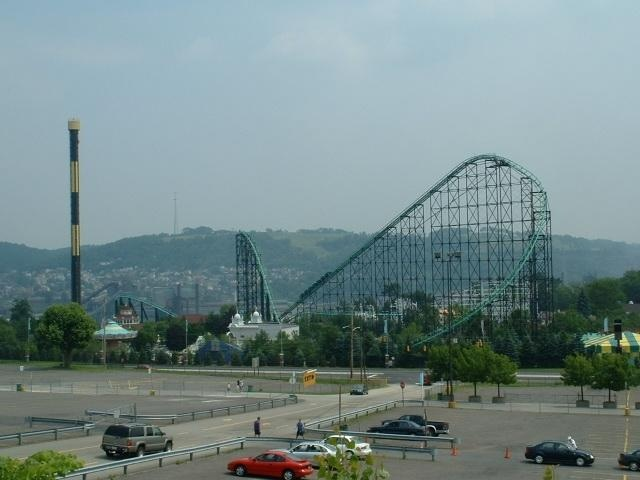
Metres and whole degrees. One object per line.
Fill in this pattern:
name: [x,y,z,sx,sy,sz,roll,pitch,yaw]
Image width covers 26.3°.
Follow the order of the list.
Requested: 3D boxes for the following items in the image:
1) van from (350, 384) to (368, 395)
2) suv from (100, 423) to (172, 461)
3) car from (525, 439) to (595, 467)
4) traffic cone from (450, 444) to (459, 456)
van: [5.083,20.797,189.258,2.326,1.379,1.614,0,-9,-6]
suv: [-20.866,22.857,154.932,6.466,3.084,3.520,-1,0,-42]
car: [27.019,24.476,155.136,6.964,2.350,3.142,-2,-1,12]
traffic cone: [15.018,24.234,156.463,0.870,1.032,0.873,-4,4,23]
